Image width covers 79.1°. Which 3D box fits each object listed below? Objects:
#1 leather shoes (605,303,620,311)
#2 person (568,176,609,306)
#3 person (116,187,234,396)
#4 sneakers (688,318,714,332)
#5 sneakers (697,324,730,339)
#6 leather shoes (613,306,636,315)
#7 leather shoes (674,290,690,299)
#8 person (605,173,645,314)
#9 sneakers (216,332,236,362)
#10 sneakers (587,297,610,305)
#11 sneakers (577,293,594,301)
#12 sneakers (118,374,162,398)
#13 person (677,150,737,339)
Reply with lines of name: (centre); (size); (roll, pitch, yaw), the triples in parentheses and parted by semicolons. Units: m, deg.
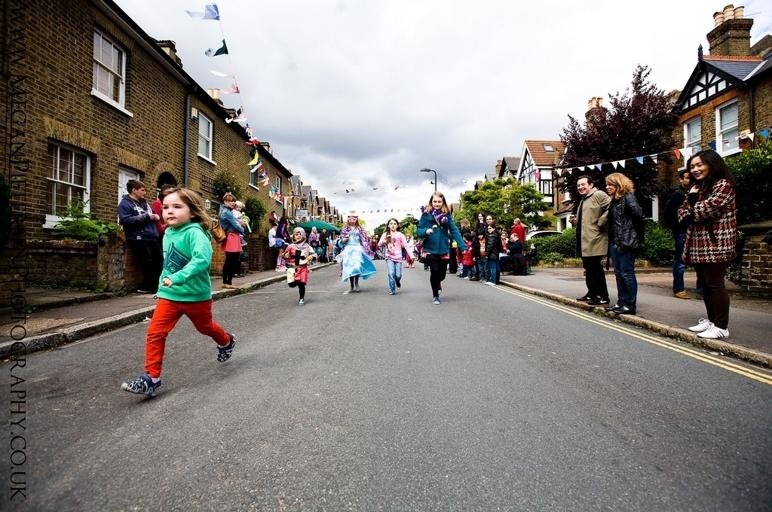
leather shoes: (4.205, 0.960, 8.730); (0.124, 0.139, 0.343); (2, -2, -11)
person: (4.070, -0.291, 9.186); (0.612, 2.557, 0.908); (-3, 2, 22)
person: (-2.484, 0.372, 5.671); (0.767, 2.431, 1.305); (-3, 2, 24)
sneakers: (4.712, 1.061, 7.021); (0.365, 0.151, 0.126); (-5, -1, 38)
sneakers: (4.736, 1.094, 6.753); (0.476, 0.192, 0.170); (-3, -5, 3)
leather shoes: (4.262, 0.985, 8.395); (0.274, 0.111, 0.148); (7, 4, 26)
leather shoes: (6.265, 0.823, 9.885); (0.150, 0.124, 0.251); (-2, -4, -9)
person: (4.284, -0.240, 8.360); (0.432, 2.549, 0.627); (-4, 2, -16)
sneakers: (-2.148, 1.230, 6.224); (0.162, 0.461, 0.212); (15, 14, 26)
sneakers: (4.253, 0.913, 9.332); (0.446, 0.180, 0.166); (1, 2, 27)
sneakers: (4.163, 0.876, 9.795); (0.345, 0.143, 0.127); (1, -3, 33)
sneakers: (-2.807, 1.478, 5.364); (0.531, 0.248, 0.195); (19, -6, -27)
person: (4.748, -0.200, 6.933); (0.663, 2.760, 0.682); (-5, 2, -41)
